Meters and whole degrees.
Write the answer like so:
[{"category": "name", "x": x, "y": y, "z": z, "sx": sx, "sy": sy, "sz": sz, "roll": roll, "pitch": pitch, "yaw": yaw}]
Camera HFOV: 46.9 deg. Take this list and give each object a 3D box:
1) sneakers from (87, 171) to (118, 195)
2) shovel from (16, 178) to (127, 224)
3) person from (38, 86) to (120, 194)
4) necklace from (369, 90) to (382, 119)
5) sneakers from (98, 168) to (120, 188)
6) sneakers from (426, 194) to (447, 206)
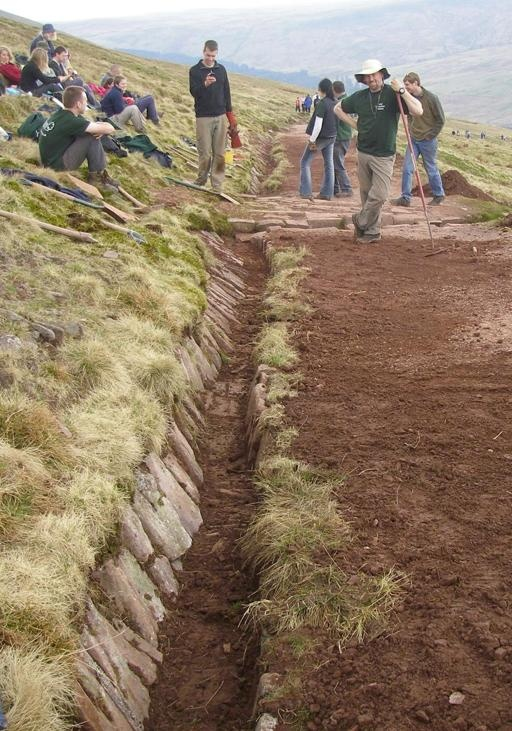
[{"category": "sneakers", "x": -1.978, "y": -2.395, "z": 7.717, "sx": 0.455, "sy": 0.232, "sz": 0.227, "roll": -11, "pitch": 35, "yaw": -21}, {"category": "shovel", "x": -2.016, "y": -1.910, "z": 6.602, "sx": 0.089, "sy": 0.534, "sz": 1.816, "roll": -8, "pitch": 3, "yaw": 18}, {"category": "person", "x": -2.151, "y": -2.846, "z": 7.287, "sx": 0.858, "sy": 1.082, "sz": 0.784, "roll": -24, "pitch": 45, "yaw": -39}, {"category": "necklace", "x": 1.693, "y": -3.752, "z": 8.414, "sx": 0.067, "sy": 0.312, "sz": 0.188, "roll": -12, "pitch": 23, "yaw": -24}, {"category": "sneakers", "x": -1.932, "y": -2.521, "z": 7.829, "sx": 0.116, "sy": 0.247, "sz": 0.347, "roll": 3, "pitch": 55, "yaw": 9}, {"category": "sneakers", "x": 3.974, "y": -3.644, "z": 12.961, "sx": 0.186, "sy": 0.227, "sz": 0.542, "roll": -2, "pitch": 4, "yaw": 26}]
